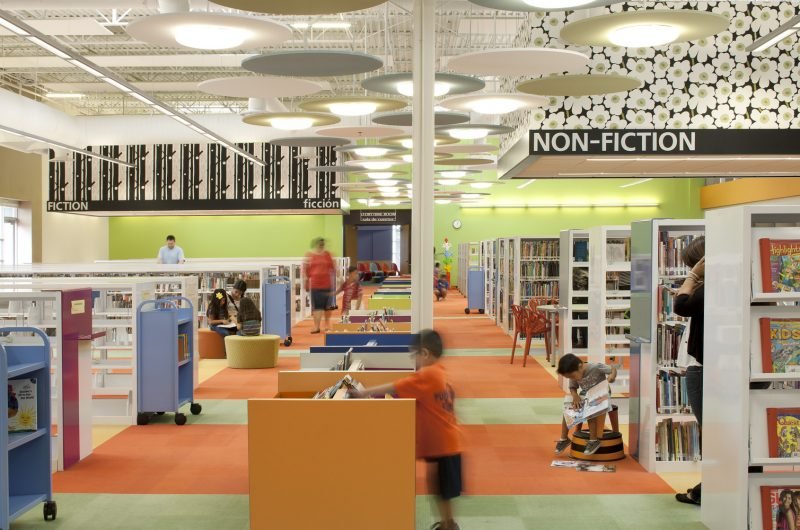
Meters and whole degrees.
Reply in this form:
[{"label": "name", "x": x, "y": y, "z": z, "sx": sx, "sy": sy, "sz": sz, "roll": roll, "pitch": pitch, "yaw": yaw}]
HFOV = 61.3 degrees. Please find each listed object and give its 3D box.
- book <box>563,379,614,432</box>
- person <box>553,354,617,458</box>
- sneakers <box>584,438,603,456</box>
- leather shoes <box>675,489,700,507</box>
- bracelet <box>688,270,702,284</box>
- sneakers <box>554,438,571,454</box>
[{"label": "book", "x": 2.279, "y": 1.699, "z": 8.244, "sx": 0.591, "sy": 0.245, "sz": 0.585, "roll": -35, "pitch": 13, "yaw": 3}, {"label": "person", "x": 2.301, "y": 1.671, "z": 8.387, "sx": 0.880, "sy": 1.128, "sz": 0.876, "roll": -3, "pitch": -8, "yaw": -15}, {"label": "sneakers", "x": 2.316, "y": 2.185, "z": 8.196, "sx": 0.271, "sy": 0.121, "sz": 0.104, "roll": -41, "pitch": -2, "yaw": -24}, {"label": "leather shoes", "x": 3.097, "y": 2.466, "z": 7.224, "sx": 0.315, "sy": 0.201, "sz": 0.112, "roll": 0, "pitch": -9, "yaw": 23}, {"label": "bracelet", "x": 3.119, "y": 0.125, "z": 7.174, "sx": 0.069, "sy": 0.127, "sz": 0.105, "roll": -11, "pitch": 12, "yaw": 10}, {"label": "sneakers", "x": 2.019, "y": 2.255, "z": 8.503, "sx": 0.288, "sy": 0.110, "sz": 0.100, "roll": -3, "pitch": -3, "yaw": -26}]
